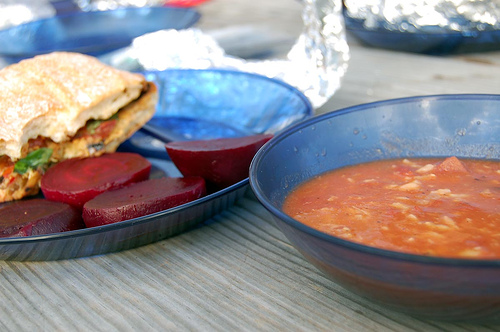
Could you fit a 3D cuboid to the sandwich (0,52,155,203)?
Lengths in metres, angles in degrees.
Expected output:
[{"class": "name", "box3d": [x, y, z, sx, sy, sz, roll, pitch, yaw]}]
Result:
[{"class": "sandwich", "box3d": [-0.343, -0.103, 1.039, 0.435, 0.139, 0.258, -21, 45, -29]}]

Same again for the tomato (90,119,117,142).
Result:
[{"class": "tomato", "box3d": [-0.323, -0.081, 1.016, 0.013, 0.032, 0.053, 40, 85, 20]}]
